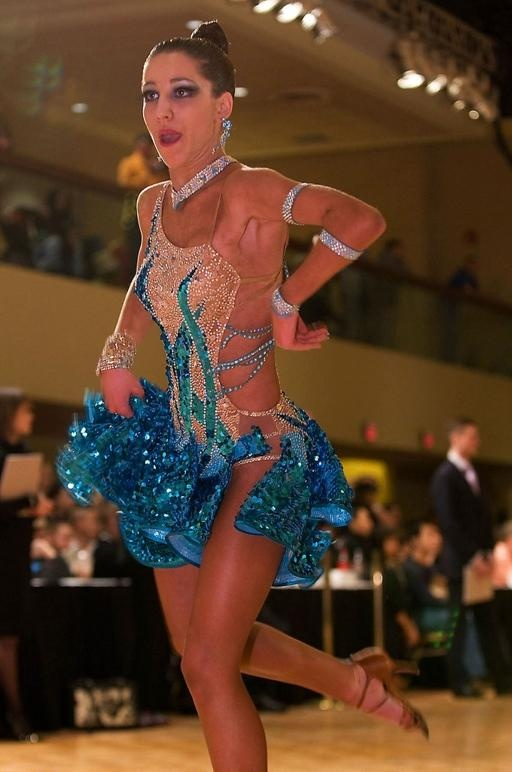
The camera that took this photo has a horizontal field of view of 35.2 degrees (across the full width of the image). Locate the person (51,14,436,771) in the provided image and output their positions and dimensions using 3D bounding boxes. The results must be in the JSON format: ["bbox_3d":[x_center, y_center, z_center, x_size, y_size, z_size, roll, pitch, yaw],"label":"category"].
[{"bbox_3d":[-0.048,-0.059,1.358,0.440,1.237,0.582,1,-3,-25],"label":"person"}]

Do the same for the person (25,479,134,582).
[{"bbox_3d":[-1.025,0.905,4.800,0.776,0.518,1.106,-1,-1,-2],"label":"person"}]
